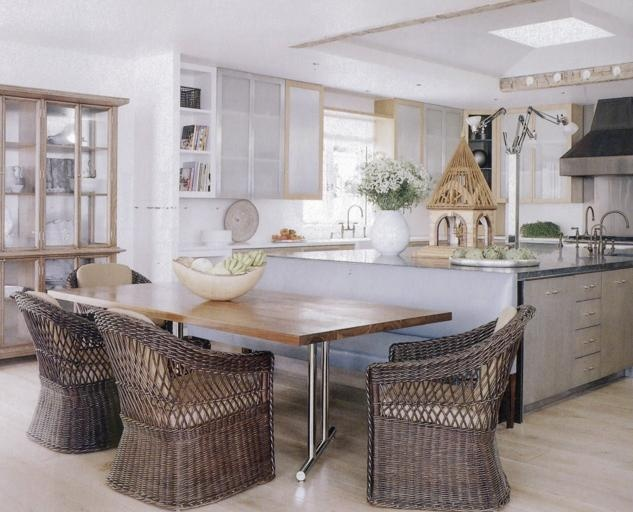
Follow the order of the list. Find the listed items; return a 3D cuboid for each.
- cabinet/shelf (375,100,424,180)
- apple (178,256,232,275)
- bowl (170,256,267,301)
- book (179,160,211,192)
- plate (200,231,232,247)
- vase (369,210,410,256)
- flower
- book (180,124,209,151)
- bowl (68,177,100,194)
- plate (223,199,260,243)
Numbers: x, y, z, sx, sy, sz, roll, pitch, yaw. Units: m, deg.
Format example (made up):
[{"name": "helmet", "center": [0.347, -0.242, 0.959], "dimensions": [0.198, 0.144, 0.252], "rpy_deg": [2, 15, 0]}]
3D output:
[{"name": "cabinet/shelf", "center": [1.386, -1.821, 7.921], "dimensions": [0.431, 1.053, 0.623], "rpy_deg": [5, 22, 12]}, {"name": "apple", "center": [-0.647, 0.062, 3.012], "dimensions": [0.301, 0.098, 0.249], "rpy_deg": [1, 0, 33]}, {"name": "bowl", "center": [-0.563, 0.156, 3.011], "dimensions": [0.528, 0.183, 0.448], "rpy_deg": [8, -4, -19]}, {"name": "book", "center": [-1.318, -0.843, 5.708], "dimensions": [0.466, 0.356, 0.251], "rpy_deg": [2, 2, 22]}, {"name": "plate", "center": [-1.135, -0.197, 5.984], "dimensions": [0.333, 0.158, 0.293], "rpy_deg": [0, 4, -11]}, {"name": "vase", "center": [0.644, -0.174, 4.195], "dimensions": [0.381, 0.370, 0.379], "rpy_deg": [0, 1, -38]}, {"name": "flower", "center": [0.612, -0.550, 4.228], "dimensions": [0.585, 0.328, 0.482], "rpy_deg": [1, 0, 5]}, {"name": "book", "center": [-1.328, -1.254, 5.680], "dimensions": [0.320, 0.288, 0.222], "rpy_deg": [1, 5, 0]}, {"name": "bowl", "center": [-2.135, -0.626, 4.831], "dimensions": [0.179, 0.078, 0.179], "rpy_deg": [0, -2, 0]}, {"name": "plate", "center": [-0.909, -0.416, 6.382], "dimensions": [0.449, 0.517, 0.103], "rpy_deg": [-3, 7, -39]}]
